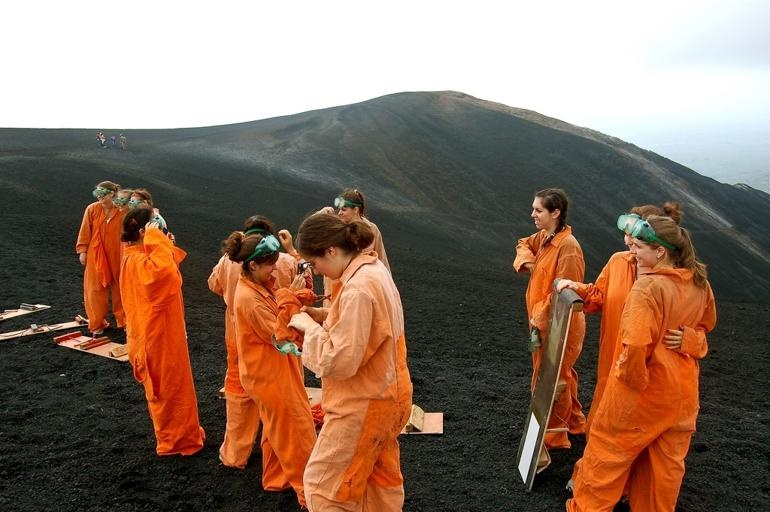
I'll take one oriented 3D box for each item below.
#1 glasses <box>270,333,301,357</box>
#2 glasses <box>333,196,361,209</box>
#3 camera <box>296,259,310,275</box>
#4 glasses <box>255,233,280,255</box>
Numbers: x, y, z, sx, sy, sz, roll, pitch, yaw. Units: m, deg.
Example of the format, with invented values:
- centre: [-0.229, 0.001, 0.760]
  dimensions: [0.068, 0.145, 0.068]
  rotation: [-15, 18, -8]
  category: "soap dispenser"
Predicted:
- centre: [-0.952, 0.848, 5.293]
  dimensions: [0.284, 0.101, 0.212]
  rotation: [16, -5, 23]
  category: "glasses"
- centre: [-0.456, -0.677, 7.222]
  dimensions: [0.252, 0.092, 0.193]
  rotation: [-1, 4, -30]
  category: "glasses"
- centre: [-0.916, 0.125, 6.191]
  dimensions: [0.195, 0.184, 0.225]
  rotation: [-3, -17, -7]
  category: "camera"
- centre: [-1.180, -0.112, 5.760]
  dimensions: [0.237, 0.166, 0.132]
  rotation: [-15, -39, 17]
  category: "glasses"
